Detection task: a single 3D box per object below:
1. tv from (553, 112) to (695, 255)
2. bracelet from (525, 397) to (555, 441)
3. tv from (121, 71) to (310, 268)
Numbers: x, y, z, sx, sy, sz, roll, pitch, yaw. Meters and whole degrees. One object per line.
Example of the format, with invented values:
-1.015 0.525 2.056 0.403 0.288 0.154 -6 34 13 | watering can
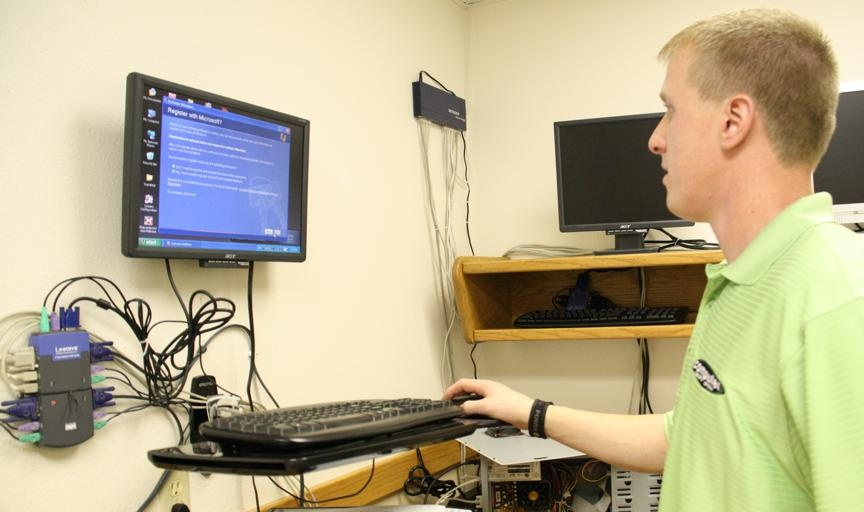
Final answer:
0.684 -0.260 2.376 0.604 0.550 0.192 -6 -8 14 | tv
0.266 0.415 1.706 0.065 0.105 0.103 4 20 24 | bracelet
-0.630 -0.232 1.879 0.089 0.481 0.650 -4 -7 42 | tv
